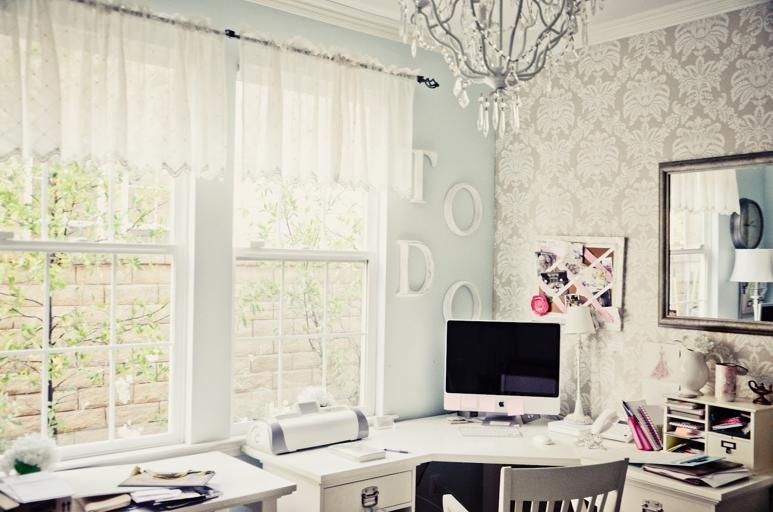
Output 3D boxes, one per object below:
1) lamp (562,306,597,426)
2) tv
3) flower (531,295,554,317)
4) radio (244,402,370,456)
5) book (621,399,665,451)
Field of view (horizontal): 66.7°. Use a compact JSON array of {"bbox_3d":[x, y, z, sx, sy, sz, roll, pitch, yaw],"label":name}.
[{"bbox_3d":[1.248,0.703,3.785,0.195,0.737,0.212,-5,8,-42],"label":"lamp"},{"bbox_3d":[0.742,0.735,3.735,1.129,0.650,0.150,4,1,9],"label":"tv"},{"bbox_3d":[1.067,0.343,4.036,0.055,0.142,0.139,-3,2,-42],"label":"flower"},{"bbox_3d":[-0.442,0.996,3.399,0.655,0.199,0.336,-14,-22,19],"label":"radio"},{"bbox_3d":[1.461,0.980,3.337,0.088,0.222,0.234,-23,-21,11],"label":"book"}]
